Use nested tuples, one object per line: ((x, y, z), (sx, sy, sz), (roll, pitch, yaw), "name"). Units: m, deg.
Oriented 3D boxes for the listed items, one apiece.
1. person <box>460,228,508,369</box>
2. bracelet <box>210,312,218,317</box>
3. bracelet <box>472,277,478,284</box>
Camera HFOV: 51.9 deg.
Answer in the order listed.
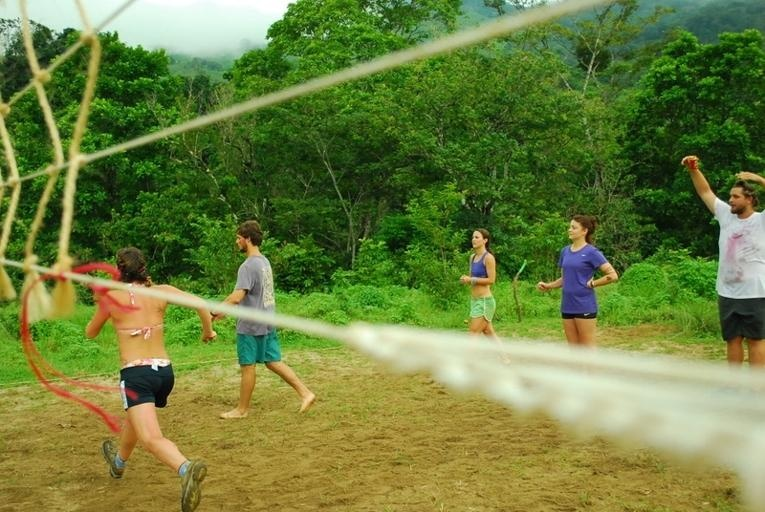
((1.709, 0.503, 13.876), (0.570, 1.753, 0.649), (-3, 1, 7), "person")
((-2.588, 0.911, 12.137), (0.108, 0.029, 0.076), (22, 2, 29), "bracelet")
((1.615, 0.422, 13.717), (0.089, 0.104, 0.048), (-2, -4, 22), "bracelet")
